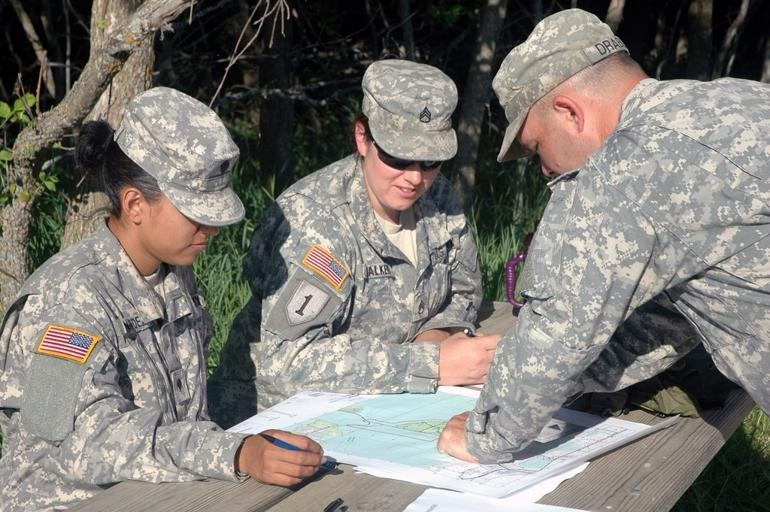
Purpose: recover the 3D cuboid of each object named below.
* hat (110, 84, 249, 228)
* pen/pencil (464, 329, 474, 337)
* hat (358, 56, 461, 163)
[{"bbox_3d":[-0.744,-0.401,3.572,0.573,0.264,0.428,42,34,1],"label":"hat"},{"bbox_3d":[0.391,0.361,4.377,0.025,0.012,0.037,16,-5,29],"label":"pen/pencil"},{"bbox_3d":[0.127,-0.684,4.219,0.443,0.250,0.593,1,36,-18],"label":"hat"}]
